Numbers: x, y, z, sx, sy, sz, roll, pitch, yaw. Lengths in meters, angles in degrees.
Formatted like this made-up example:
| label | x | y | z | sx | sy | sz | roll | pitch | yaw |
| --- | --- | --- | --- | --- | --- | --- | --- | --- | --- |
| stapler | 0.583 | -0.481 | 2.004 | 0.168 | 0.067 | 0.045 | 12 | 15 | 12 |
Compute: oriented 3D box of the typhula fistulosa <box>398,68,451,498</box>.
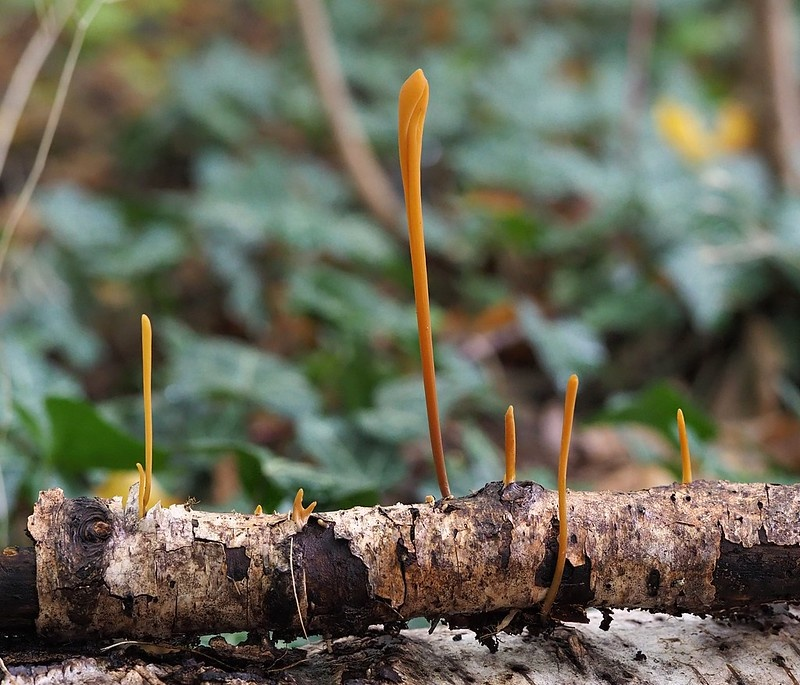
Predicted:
| label | x | y | z | sx | sy | sz | roll | pitch | yaw |
| --- | --- | --- | --- | --- | --- | --- | --- | --- | --- |
| typhula fistulosa | 0.033 | -0.088 | 2.161 | 0.091 | 0.526 | 0.093 | 2 | 13 | 9 |
